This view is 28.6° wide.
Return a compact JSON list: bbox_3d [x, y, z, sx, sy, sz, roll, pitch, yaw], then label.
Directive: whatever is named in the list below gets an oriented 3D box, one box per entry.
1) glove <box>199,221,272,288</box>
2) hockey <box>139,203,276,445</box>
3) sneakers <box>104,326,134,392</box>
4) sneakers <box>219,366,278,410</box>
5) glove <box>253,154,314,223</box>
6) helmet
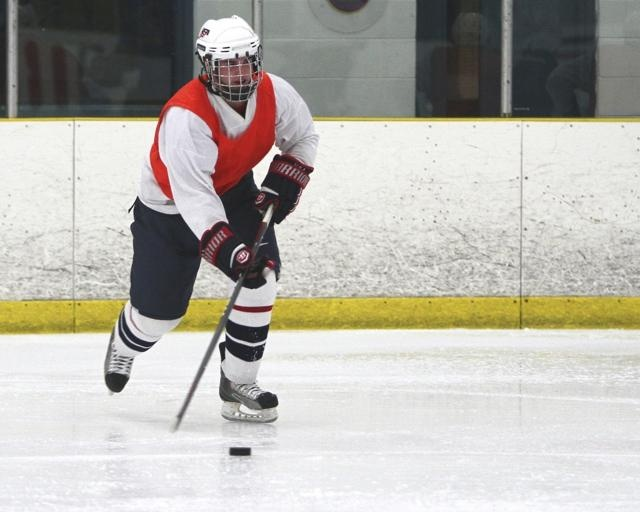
[{"bbox_3d":[-0.343,0.006,4.981,0.276,0.263,0.124,40,-11,-19],"label":"glove"},{"bbox_3d":[-0.475,0.305,5.264,0.095,1.386,0.066,48,40,16],"label":"hockey"},{"bbox_3d":[-0.876,0.443,5.401,0.108,0.293,0.131,8,-6,-24],"label":"sneakers"},{"bbox_3d":[-0.314,0.586,5.260,0.307,0.122,0.101,-5,-6,38],"label":"sneakers"},{"bbox_3d":[-0.172,-0.284,5.299,0.239,0.292,0.124,30,-2,-14],"label":"glove"},{"bbox_3d":[-0.375,-0.810,5.087,0.264,0.265,0.301,-10,30,-22],"label":"helmet"}]
